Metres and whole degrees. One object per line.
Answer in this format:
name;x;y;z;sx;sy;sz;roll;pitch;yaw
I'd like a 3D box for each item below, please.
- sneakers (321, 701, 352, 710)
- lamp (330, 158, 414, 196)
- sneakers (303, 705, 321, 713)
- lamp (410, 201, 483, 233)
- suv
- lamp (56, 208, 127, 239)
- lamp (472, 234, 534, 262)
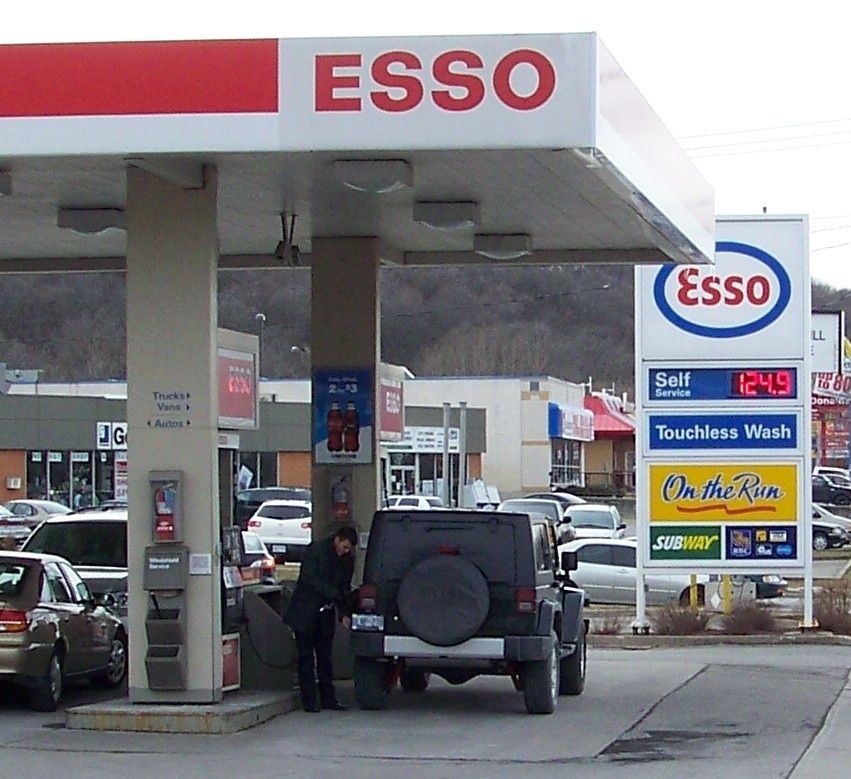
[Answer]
sneakers;-0.888;3.157;17.633;0.279;0.151;0.100;0;-2;-7
lamp;-0.515;-1.994;16.370;0.743;0.247;0.521;-2;-7;4
sneakers;-1.138;3.136;17.353;0.172;0.142;0.061;-6;-6;34
lamp;0.201;-1.846;18.501;0.693;0.214;0.502;-2;-7;1
suv;0.530;2.112;17.946;1.350;1.505;2.568;-1;-2;16
lamp;-3.588;-1.806;18.925;0.698;0.237;0.333;0;-7;-16
lamp;0.892;-1.662;20.886;0.664;0.238;1.125;-2;-7;2
